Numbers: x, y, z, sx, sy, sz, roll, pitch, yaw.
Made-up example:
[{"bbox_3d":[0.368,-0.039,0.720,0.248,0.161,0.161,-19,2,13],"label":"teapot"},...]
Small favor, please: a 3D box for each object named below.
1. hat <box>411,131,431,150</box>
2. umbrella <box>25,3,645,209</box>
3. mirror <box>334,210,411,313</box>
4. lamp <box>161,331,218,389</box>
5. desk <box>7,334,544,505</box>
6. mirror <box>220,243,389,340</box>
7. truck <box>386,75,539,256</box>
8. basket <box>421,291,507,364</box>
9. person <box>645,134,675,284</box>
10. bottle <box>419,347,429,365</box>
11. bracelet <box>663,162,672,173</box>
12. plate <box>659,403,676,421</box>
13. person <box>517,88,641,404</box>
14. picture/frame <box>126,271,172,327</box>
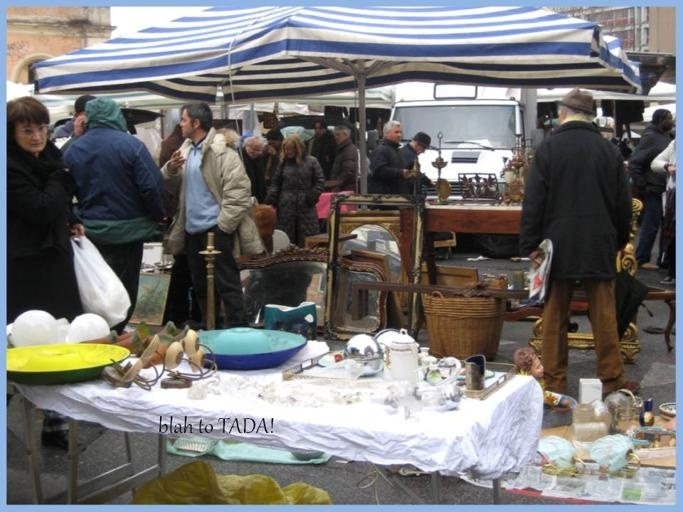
[{"bbox_3d":[1.053,-1.542,9.645,0.299,0.151,0.217,22,10,-8],"label":"hat"},{"bbox_3d":[0.019,-1.622,8.253,4.743,1.464,4.720,1,9,6],"label":"umbrella"},{"bbox_3d":[0.319,0.052,7.242,1.066,1.171,0.130,2,5,24],"label":"mirror"},{"bbox_3d":[-0.722,0.495,3.449,0.226,0.137,0.362,12,29,16],"label":"lamp"},{"bbox_3d":[-0.205,0.701,3.237,1.631,0.306,0.847,4,2,17],"label":"desk"},{"bbox_3d":[-0.367,0.371,7.386,1.680,0.930,0.040,2,9,25],"label":"mirror"},{"bbox_3d":[2.023,-2.178,12.391,2.150,1.956,3.340,0,2,7],"label":"truck"},{"bbox_3d":[1.083,0.596,6.498,0.700,0.541,0.627,0,1,4],"label":"basket"},{"bbox_3d":[4.207,-0.607,9.565,0.321,1.814,0.847,3,8,22],"label":"person"},{"bbox_3d":[0.409,0.505,3.683,0.065,0.061,0.063,1,1,2],"label":"bottle"},{"bbox_3d":[4.252,-1.168,9.527,0.048,0.120,0.102,-6,-21,44],"label":"bracelet"},{"bbox_3d":[2.178,1.029,4.871,0.098,0.038,0.094,-3,3,-10],"label":"plate"},{"bbox_3d":[1.749,0.007,5.470,0.806,2.049,0.359,1,7,12],"label":"person"},{"bbox_3d":[-1.884,0.427,7.208,0.525,0.589,0.042,14,-5,28],"label":"picture/frame"}]
